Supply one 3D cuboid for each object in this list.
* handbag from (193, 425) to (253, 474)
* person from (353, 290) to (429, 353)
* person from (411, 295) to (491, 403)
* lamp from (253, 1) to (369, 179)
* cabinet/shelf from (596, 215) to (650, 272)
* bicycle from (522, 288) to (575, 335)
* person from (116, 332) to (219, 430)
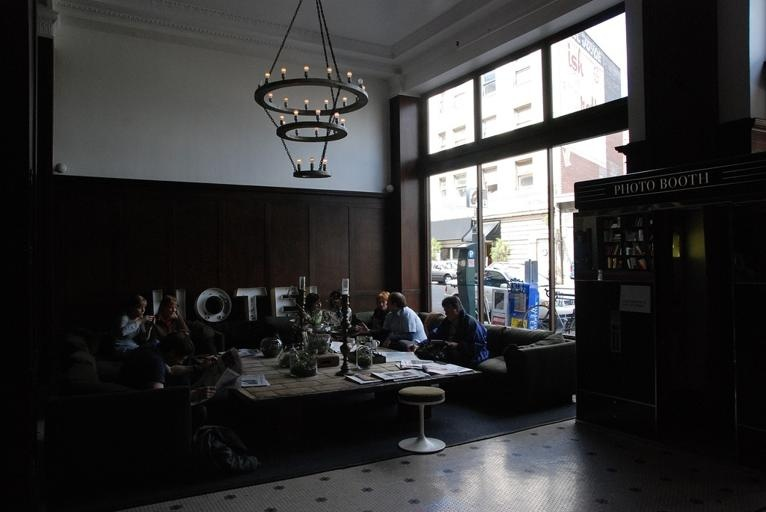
[{"bbox_3d":[-1.460,1.804,5.191,0.572,0.412,0.320,-3,7,-19],"label":"handbag"},{"bbox_3d":[0.069,1.072,8.245,0.899,1.049,0.741,7,-21,-18],"label":"person"},{"bbox_3d":[0.940,1.126,7.581,0.835,1.108,0.901,10,-11,-43],"label":"person"},{"bbox_3d":[-1.141,-2.577,8.609,1.518,2.678,4.605,-1,7,-8],"label":"lamp"},{"bbox_3d":[2.618,-0.142,6.003,0.192,0.570,0.579,5,-7,-41],"label":"cabinet/shelf"},{"bbox_3d":[2.504,0.816,8.335,0.635,0.428,0.593,2,-3,-35],"label":"bicycle"},{"bbox_3d":[-1.949,1.213,5.357,0.694,0.867,0.941,6,9,39],"label":"person"}]
